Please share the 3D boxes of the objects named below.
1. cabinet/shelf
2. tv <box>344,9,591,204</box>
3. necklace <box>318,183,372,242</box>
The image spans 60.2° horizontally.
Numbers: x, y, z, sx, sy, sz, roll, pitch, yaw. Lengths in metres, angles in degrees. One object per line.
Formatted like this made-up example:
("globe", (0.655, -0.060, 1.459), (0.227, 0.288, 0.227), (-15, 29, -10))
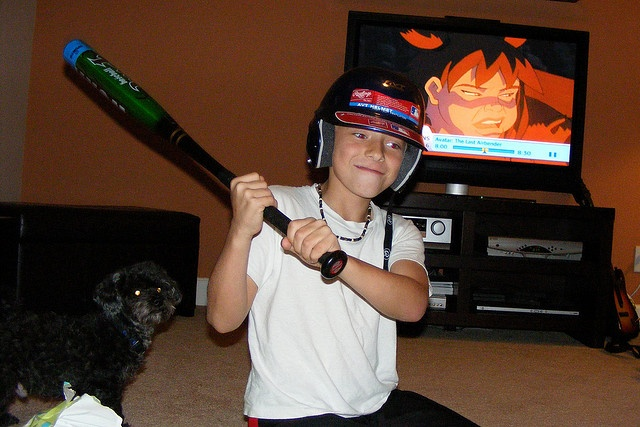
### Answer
("cabinet/shelf", (1.236, 0.296, 4.655), (1.987, 1.214, 1.081), (3, 19, 13))
("tv", (1.110, -0.785, 4.056), (1.572, 1.195, 0.376), (4, -5, -1))
("necklace", (0.142, 0.031, 2.738), (0.237, 0.289, 0.060), (9, -17, -11))
